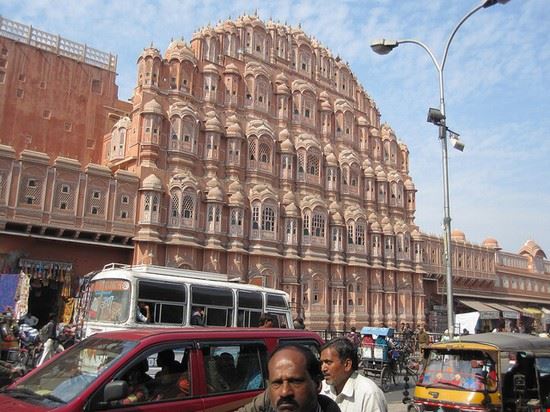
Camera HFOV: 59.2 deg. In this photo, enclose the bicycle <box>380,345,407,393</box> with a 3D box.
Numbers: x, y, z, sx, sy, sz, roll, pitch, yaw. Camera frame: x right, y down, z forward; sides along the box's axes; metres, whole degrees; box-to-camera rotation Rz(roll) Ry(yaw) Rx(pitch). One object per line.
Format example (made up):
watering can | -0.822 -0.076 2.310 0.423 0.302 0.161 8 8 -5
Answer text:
bicycle | 4.024 6.279 18.399 1.211 1.495 2.386 -10 -30 25
